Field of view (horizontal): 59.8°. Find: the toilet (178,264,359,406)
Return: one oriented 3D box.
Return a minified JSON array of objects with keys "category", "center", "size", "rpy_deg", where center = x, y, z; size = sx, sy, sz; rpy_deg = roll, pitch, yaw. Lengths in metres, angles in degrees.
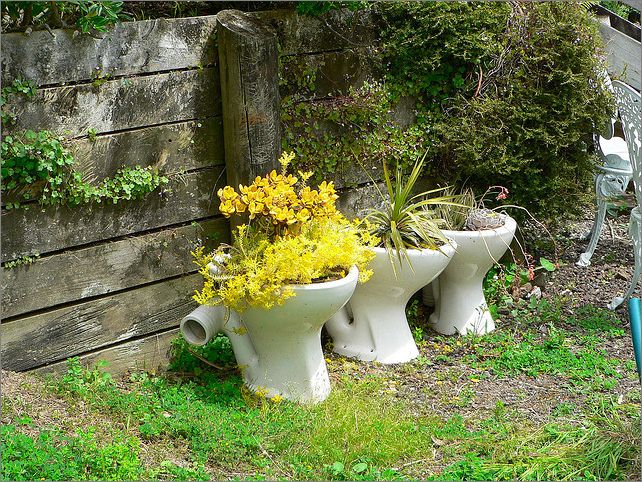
[{"category":"toilet","center":[-0.238,0.454,2.784],"size":[0.742,0.575,0.629],"rpy_deg":[5,10,22]}]

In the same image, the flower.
[{"category":"flower","center":[-0.159,0.043,2.597],"size":[0.810,0.673,0.406],"rpy_deg":[9,14,-14]}]

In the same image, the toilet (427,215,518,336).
[{"category":"toilet","center":[0.927,0.194,3.475],"size":[0.522,0.648,0.586],"rpy_deg":[2,14,17]}]

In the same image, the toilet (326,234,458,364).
[{"category":"toilet","center":[0.340,0.316,3.220],"size":[0.796,0.719,0.631],"rpy_deg":[2,15,15]}]
